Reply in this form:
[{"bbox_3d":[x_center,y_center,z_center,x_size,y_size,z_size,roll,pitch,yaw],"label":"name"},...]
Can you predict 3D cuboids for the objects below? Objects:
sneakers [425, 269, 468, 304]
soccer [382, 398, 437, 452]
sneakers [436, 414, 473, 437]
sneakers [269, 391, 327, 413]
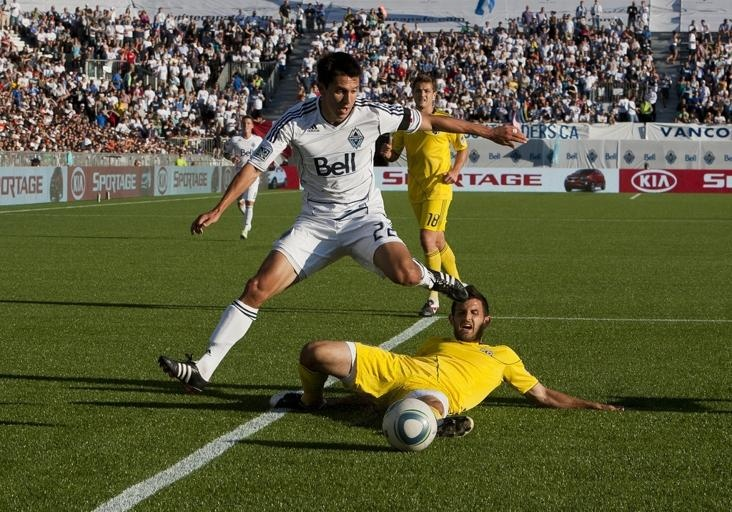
[{"bbox_3d":[0.659,0.241,7.519,0.419,0.145,0.186,28,32,23],"label":"sneakers"},{"bbox_3d":[0.316,1.192,6.739,0.415,0.418,0.403,5,-5,-15],"label":"soccer"},{"bbox_3d":[0.651,1.211,6.878,0.259,0.179,0.309,2,11,6],"label":"sneakers"},{"bbox_3d":[-0.521,1.123,7.378,0.435,0.188,0.163,-2,-3,15],"label":"sneakers"}]
